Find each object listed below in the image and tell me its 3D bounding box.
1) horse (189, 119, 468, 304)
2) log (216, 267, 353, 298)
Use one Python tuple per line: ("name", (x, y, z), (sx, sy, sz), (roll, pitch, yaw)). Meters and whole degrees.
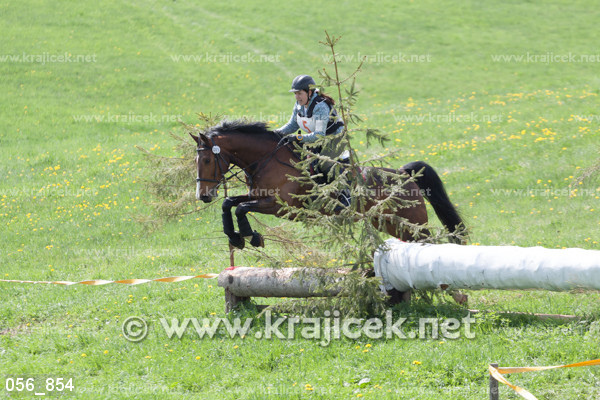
("horse", (1.714, -0.104, 52.263), (12.311, 6.289, 2.477), (1, 11, 16))
("log", (-0.314, 3.335, 52.140), (6.647, 1.322, 1.672), (-2, 1, 25))
